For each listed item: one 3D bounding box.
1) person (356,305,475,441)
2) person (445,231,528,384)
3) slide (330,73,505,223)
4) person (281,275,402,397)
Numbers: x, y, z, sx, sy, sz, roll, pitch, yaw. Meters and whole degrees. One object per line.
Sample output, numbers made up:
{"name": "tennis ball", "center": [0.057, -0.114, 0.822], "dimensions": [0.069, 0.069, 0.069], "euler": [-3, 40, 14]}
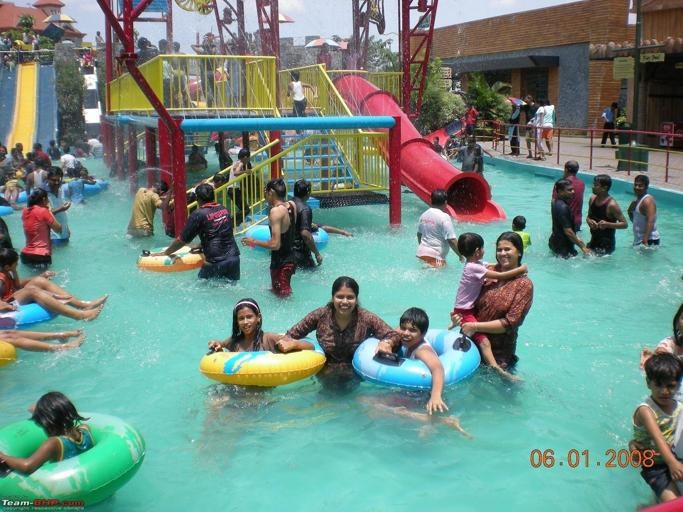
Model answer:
{"name": "person", "center": [0.704, 1.023, 5.573], "dimensions": [1.144, 0.978, 0.694], "euler": [7, 16, 31]}
{"name": "person", "center": [1.532, 0.471, 6.171], "dimensions": [0.713, 1.480, 0.563], "euler": [1, 13, 1]}
{"name": "slide", "center": [1.785, -2.313, 14.961], "dimensions": [1.825, 1.394, 7.944], "euler": [8, 37, -33]}
{"name": "person", "center": [-0.012, 1.296, 5.992], "dimensions": [1.158, 2.136, 0.720], "euler": [5, 25, 5]}
